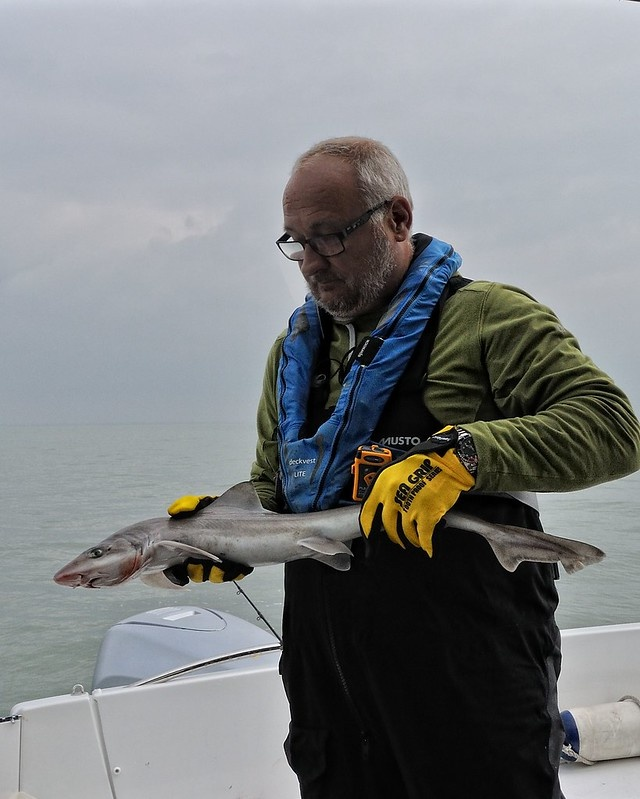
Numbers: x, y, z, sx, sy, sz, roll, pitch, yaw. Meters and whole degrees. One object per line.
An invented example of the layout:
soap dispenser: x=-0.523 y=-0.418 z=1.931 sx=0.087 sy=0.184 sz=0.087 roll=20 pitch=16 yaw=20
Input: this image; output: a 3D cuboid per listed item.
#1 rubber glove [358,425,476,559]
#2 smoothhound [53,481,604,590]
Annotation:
rubber glove: x=0.259 y=0.270 z=2.418 sx=0.270 sy=0.405 sz=0.124 roll=42 pitch=10 yaw=30
smoothhound: x=-0.030 y=0.395 z=2.706 sx=1.663 sy=0.247 sz=0.247 roll=-3 pitch=-6 yaw=6
